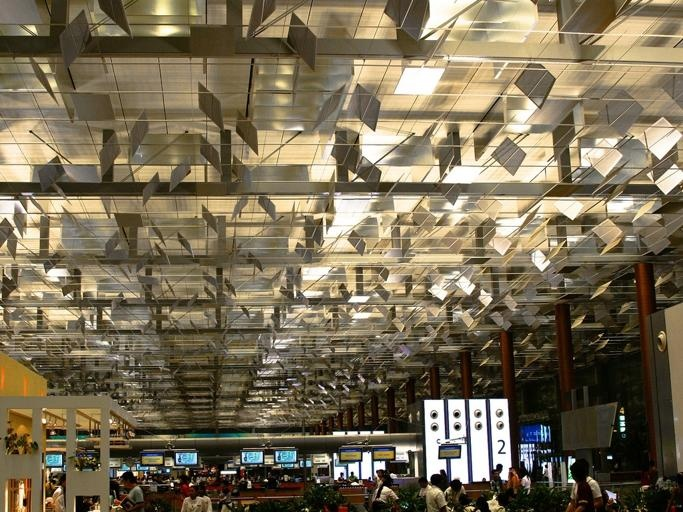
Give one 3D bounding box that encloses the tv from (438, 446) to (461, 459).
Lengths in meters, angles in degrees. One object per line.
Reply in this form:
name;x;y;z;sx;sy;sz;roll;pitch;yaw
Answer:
tv;4.344;8.132;30.442;0.793;0.377;0.103;3;-28;-7
